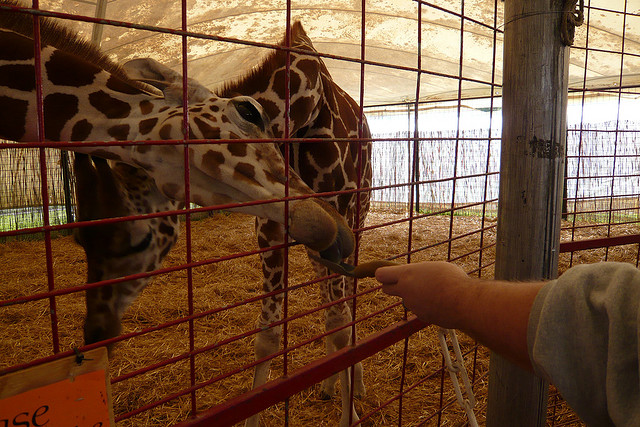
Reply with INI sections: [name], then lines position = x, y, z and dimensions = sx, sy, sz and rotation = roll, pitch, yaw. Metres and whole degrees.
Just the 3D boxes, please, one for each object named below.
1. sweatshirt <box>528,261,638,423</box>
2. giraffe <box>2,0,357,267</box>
[sweatshirt]
position = 0.806, 0.344, 1.546
dimensions = 0.310, 0.502, 0.177
rotation = 5, 0, -9
[giraffe]
position = -0.741, -0.427, 2.288
dimensions = 1.704, 1.234, 0.993
rotation = 1, 7, 22
